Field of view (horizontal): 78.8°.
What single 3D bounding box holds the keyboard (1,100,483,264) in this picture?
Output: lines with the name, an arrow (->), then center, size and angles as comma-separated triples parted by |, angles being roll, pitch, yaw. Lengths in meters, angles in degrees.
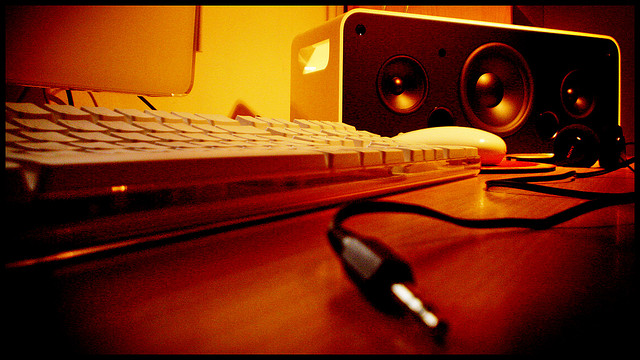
keyboard -> -0.067, -0.020, 0.488 | 0.530, 0.145, 0.166 | -4, 7, -27

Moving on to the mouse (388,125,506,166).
mouse -> 0.250, -0.059, 0.733 | 0.191, 0.042, 0.092 | 0, 2, -9
